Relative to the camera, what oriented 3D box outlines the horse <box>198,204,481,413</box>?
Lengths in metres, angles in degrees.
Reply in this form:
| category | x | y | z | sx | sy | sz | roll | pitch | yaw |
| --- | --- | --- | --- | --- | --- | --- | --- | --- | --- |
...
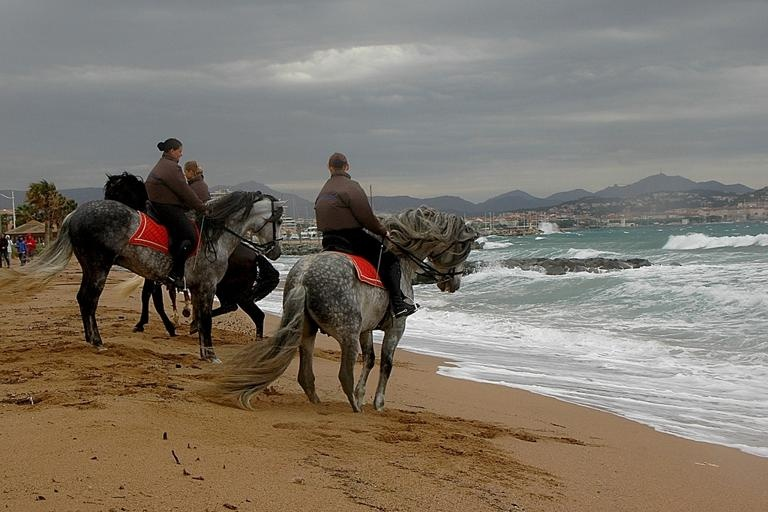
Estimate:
| category | x | y | z | sx | sy | sz | roll | pitch | yaw |
| --- | --- | --- | --- | --- | --- | --- | --- | --- | --- |
| horse | -0.469 | 0.727 | 8.335 | 3.380 | 2.913 | 1.064 | -2 | 7 | -42 |

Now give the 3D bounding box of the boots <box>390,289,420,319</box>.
| category | x | y | z | sx | sy | sz | roll | pitch | yaw |
| --- | --- | --- | --- | --- | --- | --- | --- | --- | --- |
| boots | 0.387 | 0.681 | 8.455 | 0.609 | 0.356 | 0.236 | -2 | 4 | -15 |
